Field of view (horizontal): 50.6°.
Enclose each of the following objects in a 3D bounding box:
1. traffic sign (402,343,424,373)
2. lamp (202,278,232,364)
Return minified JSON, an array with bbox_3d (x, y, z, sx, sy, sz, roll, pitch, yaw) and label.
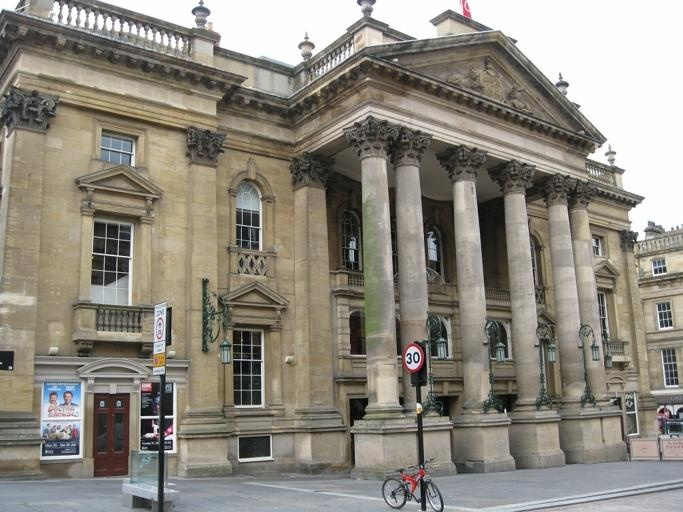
[{"bbox_3d":[2.228,3.125,21.900,0.230,0.883,0.933,6,-19,-24],"label":"traffic sign"},{"bbox_3d":[-5.333,2.738,30.893,1.279,3.370,0.528,0,-7,-34],"label":"lamp"}]
